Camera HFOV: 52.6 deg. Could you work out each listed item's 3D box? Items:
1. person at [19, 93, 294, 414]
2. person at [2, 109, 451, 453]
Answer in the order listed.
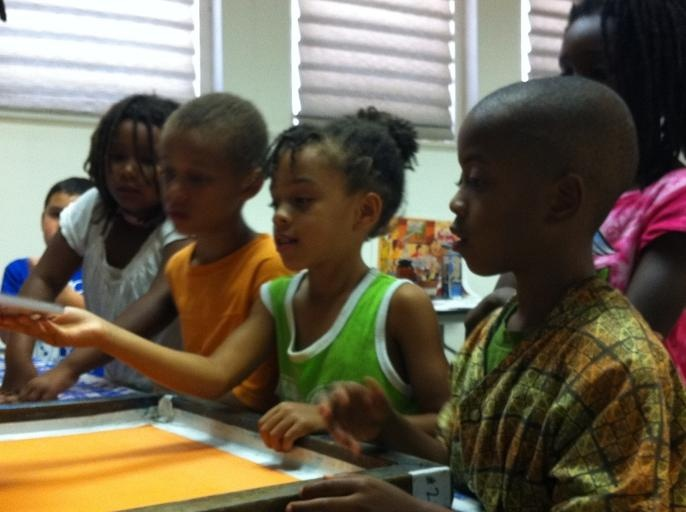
[{"bbox_3d":[-0.476,0.032,1.510,0.496,0.793,0.397,8,-4,22],"label":"person"},{"bbox_3d":[-0.305,0.022,1.481,0.850,0.833,0.475,2,-5,-30],"label":"person"}]
